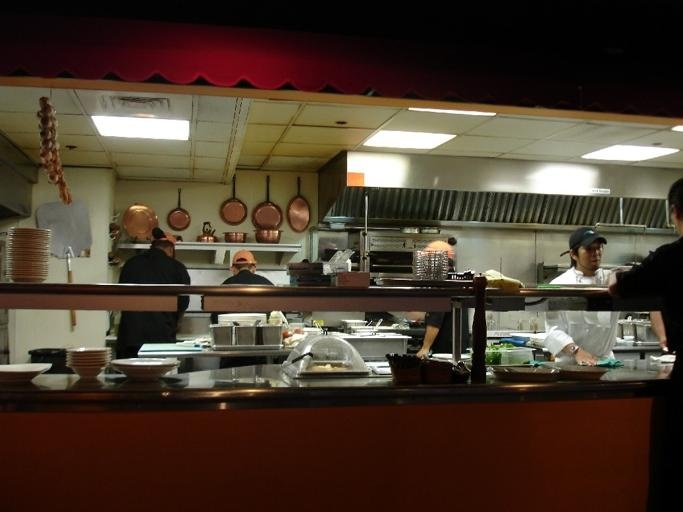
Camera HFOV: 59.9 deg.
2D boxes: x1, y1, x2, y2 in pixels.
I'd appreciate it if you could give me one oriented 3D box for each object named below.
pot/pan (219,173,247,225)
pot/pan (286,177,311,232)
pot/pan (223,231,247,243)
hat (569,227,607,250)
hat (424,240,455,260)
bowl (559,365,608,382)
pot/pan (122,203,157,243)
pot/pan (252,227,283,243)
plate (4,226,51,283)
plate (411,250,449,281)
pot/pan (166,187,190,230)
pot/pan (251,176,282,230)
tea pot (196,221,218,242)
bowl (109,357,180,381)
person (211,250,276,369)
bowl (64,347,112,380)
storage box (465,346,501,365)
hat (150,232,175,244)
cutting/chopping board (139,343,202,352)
[{"bbox_3d":[-1.323,-0.689,7.469,0.444,0.571,0.080,0,-3,-20],"label":"pot/pan"},{"bbox_3d":[-0.574,-0.651,7.804,0.474,0.609,0.084,0,-1,-35],"label":"pot/pan"},{"bbox_3d":[-1.312,-0.220,7.239,0.243,0.133,0.131,3,-3,-11],"label":"pot/pan"},{"bbox_3d":[1.851,-0.131,4.507,0.211,0.133,0.266,0,-12,-20],"label":"hat"},{"bbox_3d":[1.263,-0.104,7.283,0.461,0.211,0.397,1,1,-4],"label":"hat"},{"bbox_3d":[1.371,0.672,3.397,0.152,0.025,0.150,-1,-2,0],"label":"bowl"},{"bbox_3d":[-2.433,-0.394,7.100,0.548,0.430,0.121,2,-1,-26],"label":"pot/pan"},{"bbox_3d":[-0.936,-0.254,7.486,0.278,0.093,0.213,1,-10,-7],"label":"pot/pan"},{"bbox_3d":[-1.680,-0.003,3.155,0.207,0.288,0.168,4,-4,-26],"label":"plate"},{"bbox_3d":[0.515,0.054,3.411,0.215,0.154,0.062,1,-4,10],"label":"plate"},{"bbox_3d":[-2.091,-0.586,7.476,0.419,0.536,0.073,-2,-1,-14],"label":"pot/pan"},{"bbox_3d":[-0.966,-0.680,7.699,0.473,0.634,0.087,1,-7,-27],"label":"pot/pan"},{"bbox_3d":[-1.662,-0.286,7.360,0.329,0.274,0.283,1,-6,1],"label":"tea pot"},{"bbox_3d":[-1.102,0.629,3.295,0.348,0.100,0.256,3,-3,-16],"label":"bowl"},{"bbox_3d":[-1.002,0.457,5.802,0.587,1.114,1.724,3,-3,-7],"label":"person"},{"bbox_3d":[-1.423,0.602,3.327,0.218,0.107,0.188,0,-1,-5],"label":"bowl"},{"bbox_3d":[1.058,0.718,4.341,0.221,0.107,1.088,1,-3,15],"label":"storage box"},{"bbox_3d":[-1.825,-0.184,6.212,0.248,0.092,0.339,8,5,34],"label":"hat"},{"bbox_3d":[-1.497,0.804,5.256,0.512,0.027,0.588,2,-3,-12],"label":"cutting/chopping board"}]
